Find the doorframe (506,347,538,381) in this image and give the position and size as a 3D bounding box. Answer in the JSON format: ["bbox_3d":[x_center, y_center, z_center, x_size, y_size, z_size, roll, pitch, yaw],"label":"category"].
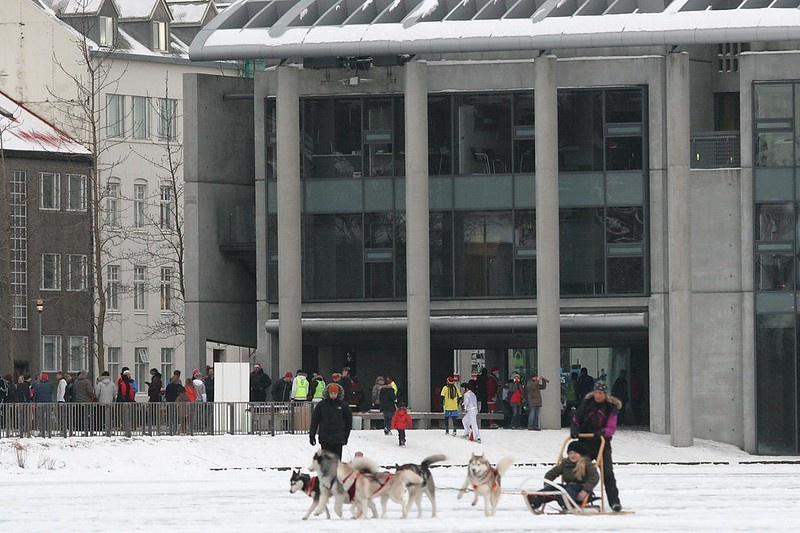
[{"bbox_3d":[5.180,4.077,94.315,1.531,1.540,0.829,1,0,21],"label":"doorframe"}]

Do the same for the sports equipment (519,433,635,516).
[{"bbox_3d":[5.219,6.205,66.670,1.997,2.140,3.164,-6,-9,41],"label":"sports equipment"}]

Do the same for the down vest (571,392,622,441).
[{"bbox_3d":[5.892,4.393,66.229,1.474,1.772,1.297,10,-5,15],"label":"down vest"}]

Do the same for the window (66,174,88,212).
[{"bbox_3d":[-14.995,-3.265,102.046,0.946,1.688,0.125,1,-11,-20],"label":"window"}]

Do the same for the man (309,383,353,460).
[{"bbox_3d":[-2.172,4.877,67.437,1.246,2.881,0.778,-3,13,-12],"label":"man"}]

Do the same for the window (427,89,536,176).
[{"bbox_3d":[3.834,-5.043,88.659,2.758,3.230,4.497,-19,6,4],"label":"window"}]

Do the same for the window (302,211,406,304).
[{"bbox_3d":[-1.793,-0.416,87.561,4.266,3.547,0.187,-1,6,-21],"label":"window"}]

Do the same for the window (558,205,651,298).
[{"bbox_3d":[7.863,-0.604,85.827,3.454,3.501,0.125,-1,3,-4],"label":"window"}]

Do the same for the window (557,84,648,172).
[{"bbox_3d":[7.937,-5.122,85.929,3.285,3.354,0.248,1,-8,5],"label":"window"}]

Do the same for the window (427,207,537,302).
[{"bbox_3d":[3.243,-0.511,86.686,4.719,3.503,0.062,-1,2,-23],"label":"window"}]

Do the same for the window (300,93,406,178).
[{"bbox_3d":[-2.025,-4.947,87.533,3.416,2.972,1.186,-1,5,-2],"label":"window"}]

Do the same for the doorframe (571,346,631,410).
[{"bbox_3d":[8.624,4.660,96.147,1.615,2.620,2.812,5,-3,-3],"label":"doorframe"}]

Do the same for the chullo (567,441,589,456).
[{"bbox_3d":[5.268,5.262,65.803,0.396,0.425,0.543,3,5,42],"label":"chullo"}]
